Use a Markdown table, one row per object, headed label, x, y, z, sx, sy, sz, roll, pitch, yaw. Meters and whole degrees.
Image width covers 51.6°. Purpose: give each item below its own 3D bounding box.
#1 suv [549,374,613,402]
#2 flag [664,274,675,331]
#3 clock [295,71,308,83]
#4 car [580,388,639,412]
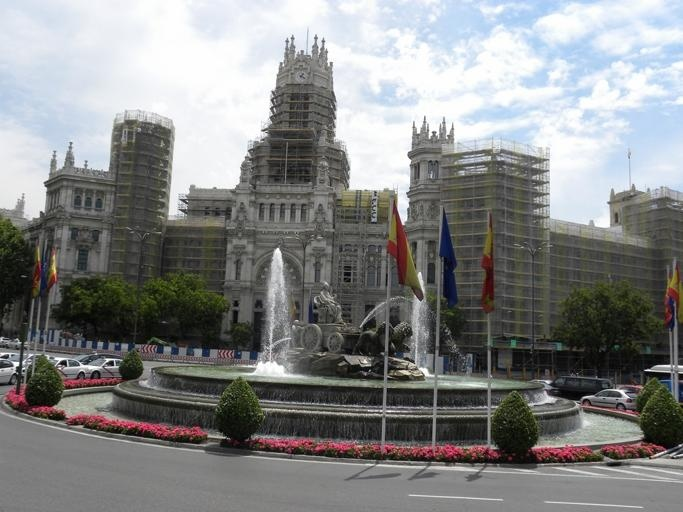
| label | x | y | z | sx | sy | sz | roll | pitch | yaw |
| --- | --- | --- | --- | --- | --- | --- | --- | --- | --- |
| suv | 15.198 | 8.274 | 45.035 | 2.811 | 1.317 | 1.721 | -1 | -5 | 36 |
| flag | 16.783 | 2.239 | 35.730 | 0.444 | 2.776 | 0.943 | 2 | -9 | 15 |
| clock | -6.123 | -27.525 | 108.601 | 2.123 | 1.903 | 0.273 | 0 | -23 | 1 |
| car | 15.755 | 8.561 | 41.421 | 3.166 | 0.989 | 1.500 | 0 | -7 | 34 |
